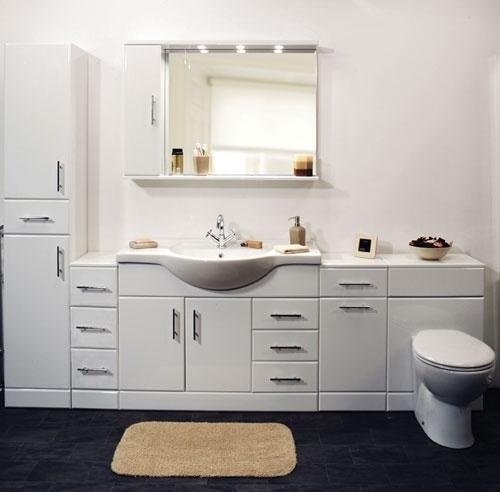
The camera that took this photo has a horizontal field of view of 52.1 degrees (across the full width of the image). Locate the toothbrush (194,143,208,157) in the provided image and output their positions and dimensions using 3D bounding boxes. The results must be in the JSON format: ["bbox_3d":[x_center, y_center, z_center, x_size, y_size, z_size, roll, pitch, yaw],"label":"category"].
[{"bbox_3d":[-0.272,-0.546,2.894,0.060,0.089,0.026,3,-12,-14],"label":"toothbrush"}]

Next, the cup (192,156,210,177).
[{"bbox_3d":[-0.276,-0.464,2.938,0.098,0.118,0.101,-1,5,0],"label":"cup"}]

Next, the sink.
[{"bbox_3d":[-0.153,0.115,2.685,0.590,0.208,0.394,1,14,4],"label":"sink"}]

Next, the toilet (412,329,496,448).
[{"bbox_3d":[0.968,0.692,2.523,0.340,0.476,0.421,1,14,6],"label":"toilet"}]
